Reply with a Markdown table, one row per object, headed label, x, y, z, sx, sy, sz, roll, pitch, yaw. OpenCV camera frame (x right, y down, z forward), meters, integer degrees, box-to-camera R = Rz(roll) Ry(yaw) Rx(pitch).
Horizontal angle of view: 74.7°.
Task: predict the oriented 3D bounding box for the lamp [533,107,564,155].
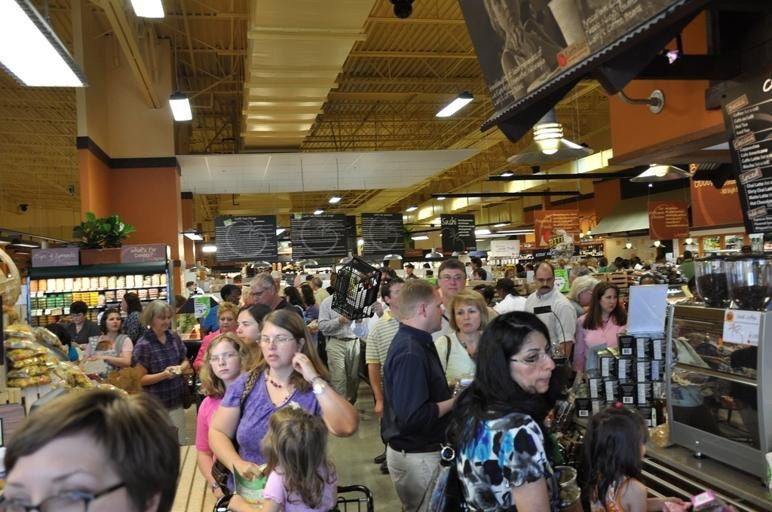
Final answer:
| label | x | y | z | sx | sy | sz | roll | pitch | yaw |
| --- | --- | --- | --- | --- | --- | --- | --- | --- | --- |
| lamp | 1.452 | -1.115 | 4.547 | 0.231 | 0.525 | 0.788 | -4 | -2 | 17 |

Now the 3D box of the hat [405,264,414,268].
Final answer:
| label | x | y | z | sx | sy | sz | roll | pitch | yaw |
| --- | --- | --- | --- | --- | --- | --- | --- | --- | --- |
| hat | 0.675 | 0.330 | 14.027 | 0.177 | 0.125 | 0.142 | -4 | 8 | -6 |

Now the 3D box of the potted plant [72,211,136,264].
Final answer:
| label | x | y | z | sx | sy | sz | roll | pitch | yaw |
| --- | --- | --- | --- | --- | --- | --- | --- | --- | --- |
| potted plant | -5.319 | -0.331 | 9.755 | 0.925 | 0.546 | 0.891 | 5 | 7 | 5 |

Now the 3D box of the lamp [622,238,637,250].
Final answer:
| label | x | y | z | sx | sy | sz | roll | pitch | yaw |
| --- | --- | --- | --- | --- | --- | --- | --- | --- | --- |
| lamp | 9.189 | -0.433 | 19.130 | 0.387 | 0.376 | 0.374 | -1 | -13 | 1 |

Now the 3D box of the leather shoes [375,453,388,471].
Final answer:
| label | x | y | z | sx | sy | sz | roll | pitch | yaw |
| --- | --- | --- | --- | --- | --- | --- | --- | --- | --- |
| leather shoes | -0.040 | 2.179 | 5.419 | 0.165 | 0.189 | 0.469 | 0 | -11 | -1 |

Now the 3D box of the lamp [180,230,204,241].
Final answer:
| label | x | y | z | sx | sy | sz | roll | pitch | yaw |
| --- | --- | --- | --- | --- | --- | --- | --- | --- | --- |
| lamp | -6.187 | -0.628 | 16.063 | 0.615 | 0.173 | 0.704 | -5 | -5 | 39 |

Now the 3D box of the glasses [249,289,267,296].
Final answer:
| label | x | y | z | sx | sy | sz | roll | pitch | yaw |
| --- | --- | --- | --- | --- | --- | --- | --- | --- | --- |
| glasses | -1.251 | 0.362 | 4.913 | 0.078 | 0.070 | 0.029 | -4 | -19 | 31 |

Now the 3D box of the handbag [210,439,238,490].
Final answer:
| label | x | y | z | sx | sy | sz | roll | pitch | yaw |
| --- | --- | --- | --- | --- | --- | --- | --- | --- | --- |
| handbag | -0.902 | 1.182 | 2.859 | 0.101 | 0.241 | 0.178 | 2 | 4 | -4 |
